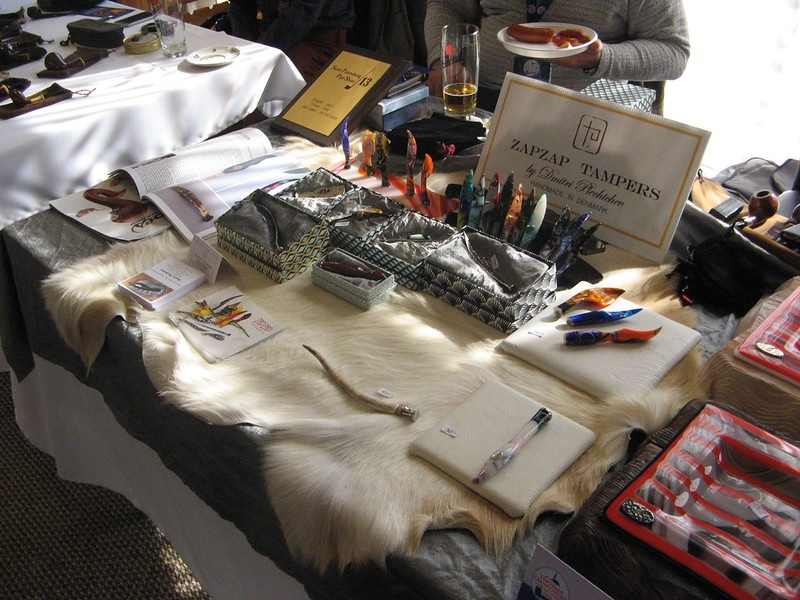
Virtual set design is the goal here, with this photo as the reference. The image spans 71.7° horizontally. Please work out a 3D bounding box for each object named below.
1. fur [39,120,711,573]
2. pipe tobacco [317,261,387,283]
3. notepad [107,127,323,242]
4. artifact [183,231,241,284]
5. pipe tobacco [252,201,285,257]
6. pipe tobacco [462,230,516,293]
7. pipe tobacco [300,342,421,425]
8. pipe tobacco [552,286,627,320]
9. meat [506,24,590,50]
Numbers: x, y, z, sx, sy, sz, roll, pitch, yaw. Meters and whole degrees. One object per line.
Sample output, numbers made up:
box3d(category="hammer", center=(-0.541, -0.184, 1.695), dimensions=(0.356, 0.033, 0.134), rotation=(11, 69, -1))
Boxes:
box3d(category="fur", center=(-0.046, 0.150, 0.932), dimensions=(0.596, 0.182, 0.796), rotation=(-36, 54, -29))
box3d(category="pipe tobacco", center=(-0.133, -0.058, 1.121), dimensions=(0.203, 0.044, 0.043), rotation=(2, 1, 18))
box3d(category="notepad", center=(-0.431, -0.305, 1.356), dimensions=(0.358, 0.056, 0.344), rotation=(32, 48, 33))
box3d(category="artifact", center=(-0.384, -0.084, 1.136), dimensions=(0.104, 0.063, 0.050), rotation=(33, 45, 27))
box3d(category="pipe tobacco", center=(-0.270, -0.153, 1.155), dimensions=(0.041, 0.041, 0.164), rotation=(-20, 47, -22))
box3d(category="pipe tobacco", center=(0.159, -0.065, 1.073), dimensions=(0.110, 0.038, 0.109), rotation=(39, 35, 7))
box3d(category="pipe tobacco", center=(-0.066, 0.145, 0.926), dimensions=(0.192, 0.025, 0.027), rotation=(28, 35, 16))
box3d(category="pipe tobacco", center=(0.347, -0.004, 1.030), dimensions=(0.151, 0.036, 0.051), rotation=(-18, 32, -21))
box3d(category="meat", center=(0.347, -0.634, 1.337), dimensions=(0.186, 0.040, 0.099), rotation=(4, 44, 2))
